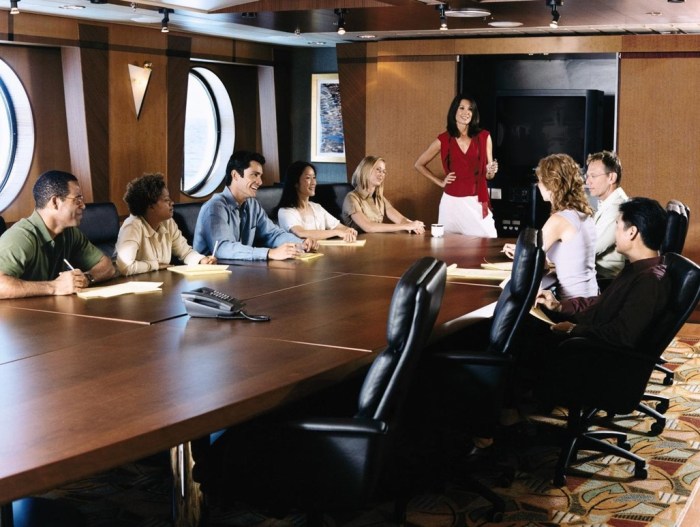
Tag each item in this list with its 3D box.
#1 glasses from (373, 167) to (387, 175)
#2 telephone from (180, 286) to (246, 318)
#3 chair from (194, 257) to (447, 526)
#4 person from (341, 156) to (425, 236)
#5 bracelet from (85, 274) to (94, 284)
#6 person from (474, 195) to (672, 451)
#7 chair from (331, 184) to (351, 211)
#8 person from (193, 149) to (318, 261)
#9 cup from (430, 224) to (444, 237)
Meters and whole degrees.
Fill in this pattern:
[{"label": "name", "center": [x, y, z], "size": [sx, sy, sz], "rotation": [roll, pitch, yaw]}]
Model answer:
[{"label": "glasses", "center": [0.276, -0.915, 5.785], "size": [0.099, 0.066, 0.121], "rotation": [-4, 6, -24]}, {"label": "telephone", "center": [-0.633, 0.175, 2.620], "size": [0.205, 0.087, 0.147], "rotation": [0, 12, 4]}, {"label": "chair", "center": [-0.049, 0.396, 2.400], "size": [0.995, 1.034, 0.803], "rotation": [7, 11, 27]}, {"label": "person", "center": [0.337, -0.598, 5.858], "size": [0.890, 0.900, 0.568], "rotation": [14, 12, 33]}, {"label": "bracelet", "center": [-1.437, 0.089, 3.156], "size": [0.019, 0.046, 0.040], "rotation": [-22, 18, -34]}, {"label": "person", "center": [1.360, 0.263, 3.224], "size": [0.836, 1.225, 0.691], "rotation": [6, 10, 28]}, {"label": "chair", "center": [-0.111, -0.698, 6.205], "size": [0.181, 0.317, 0.331], "rotation": [3, 7, 28]}, {"label": "person", "center": [-0.764, -0.422, 4.499], "size": [1.060, 0.781, 0.737], "rotation": [6, 10, 15]}, {"label": "cup", "center": [0.819, -0.297, 5.242], "size": [0.129, 0.115, 0.123], "rotation": [-3, 12, 1]}]
